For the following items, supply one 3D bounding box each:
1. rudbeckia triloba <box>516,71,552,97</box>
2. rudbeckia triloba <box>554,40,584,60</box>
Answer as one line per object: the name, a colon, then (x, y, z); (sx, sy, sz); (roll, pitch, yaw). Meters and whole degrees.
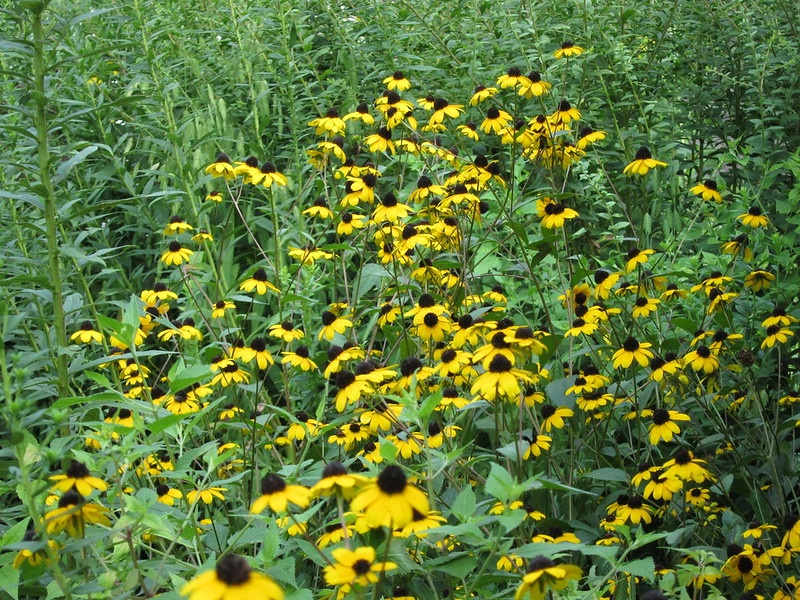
rudbeckia triloba: (0.661, -1.021, 4.567); (0.138, 0.101, 0.154); (-11, 50, -4)
rudbeckia triloba: (0.889, -1.266, 4.842); (0.176, 0.101, 0.190); (7, 14, 33)
